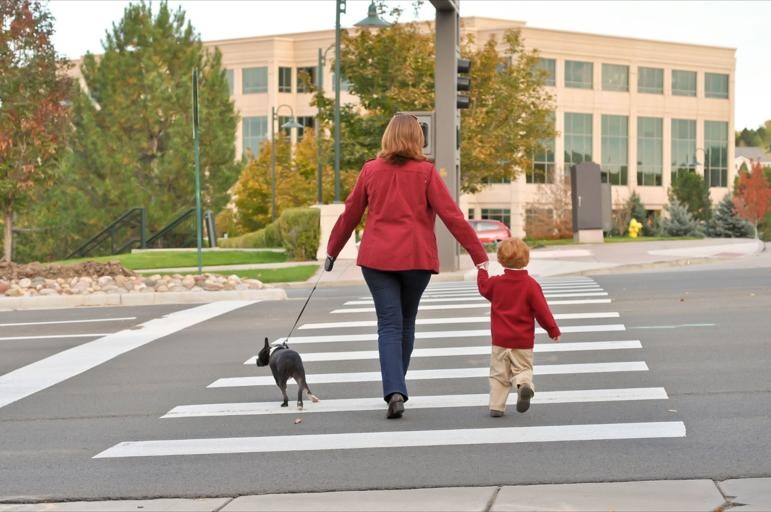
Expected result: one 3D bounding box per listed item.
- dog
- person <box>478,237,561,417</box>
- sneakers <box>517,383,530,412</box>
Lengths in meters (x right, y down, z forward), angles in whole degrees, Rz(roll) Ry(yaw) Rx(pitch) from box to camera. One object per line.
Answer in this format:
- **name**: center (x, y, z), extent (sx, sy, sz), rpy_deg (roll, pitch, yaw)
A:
- **dog**: center (-1.752, 2.142, 21.266), extent (0.696, 1.239, 1.102), rpy_deg (-7, 7, -40)
- **person**: center (2.280, 1.264, 20.614), extent (1.225, 3.142, 0.550), rpy_deg (-2, 5, 5)
- **sneakers**: center (2.451, 2.521, 20.594), extent (0.277, 0.533, 0.287), rpy_deg (-3, 5, 0)
